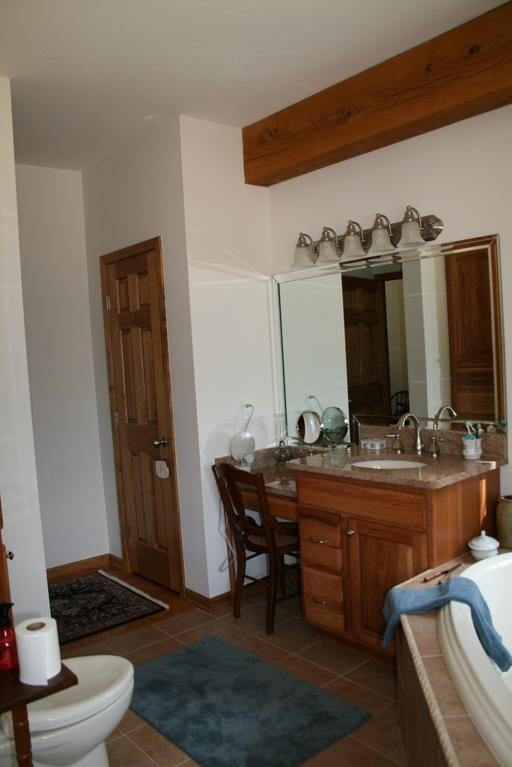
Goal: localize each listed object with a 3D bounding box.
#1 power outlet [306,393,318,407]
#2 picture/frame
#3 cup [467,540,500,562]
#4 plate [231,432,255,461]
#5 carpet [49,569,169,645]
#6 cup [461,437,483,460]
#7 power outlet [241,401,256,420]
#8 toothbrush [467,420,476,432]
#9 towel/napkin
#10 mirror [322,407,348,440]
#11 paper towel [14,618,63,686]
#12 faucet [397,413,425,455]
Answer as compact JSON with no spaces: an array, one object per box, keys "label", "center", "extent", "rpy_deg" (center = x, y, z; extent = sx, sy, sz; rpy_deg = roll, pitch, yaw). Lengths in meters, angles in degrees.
[{"label":"power outlet","center":[0.318,0.101,3.250],"extent":[0.039,0.049,0.075],"rpy_deg":[4,23,-23]},{"label":"picture/frame","center":[0.593,-0.158,2.820],"extent":[0.079,1.048,1.360],"rpy_deg":[-4,0,-36]},{"label":"cup","center":[0.818,0.580,2.037],"extent":[0.076,0.065,0.084],"rpy_deg":[10,13,39]},{"label":"plate","center":[-0.075,0.349,3.121],"extent":[0.065,0.158,0.192],"rpy_deg":[-4,0,32]},{"label":"carpet","center":[-0.870,1.229,3.190],"extent":[0.574,0.018,0.840],"rpy_deg":[-4,0,-29]},{"label":"cup","center":[0.881,0.266,2.321],"extent":[0.081,0.091,0.086],"rpy_deg":[0,-5,0]},{"label":"power outlet","center":[-0.048,0.159,3.217],"extent":[0.022,0.096,0.109],"rpy_deg":[-4,0,31]},{"label":"toothbrush","center":[0.916,0.183,2.415],"extent":[0.014,0.047,0.021],"rpy_deg":[-12,-1,-15]},{"label":"towel/napkin","center":[0.548,0.658,1.670],"extent":[0.274,0.125,0.285],"rpy_deg":[2,9,20]},{"label":"mirror","center":[0.431,0.221,3.081],"extent":[0.033,0.211,0.176],"rpy_deg":[0,-2,-30]},{"label":"paper towel","center":[-0.542,0.654,1.396],"extent":[0.101,0.116,0.102],"rpy_deg":[1,5,8]},{"label":"faucet","center":[0.701,0.228,2.583],"extent":[0.099,0.184,0.248],"rpy_deg":[-4,0,15]}]
